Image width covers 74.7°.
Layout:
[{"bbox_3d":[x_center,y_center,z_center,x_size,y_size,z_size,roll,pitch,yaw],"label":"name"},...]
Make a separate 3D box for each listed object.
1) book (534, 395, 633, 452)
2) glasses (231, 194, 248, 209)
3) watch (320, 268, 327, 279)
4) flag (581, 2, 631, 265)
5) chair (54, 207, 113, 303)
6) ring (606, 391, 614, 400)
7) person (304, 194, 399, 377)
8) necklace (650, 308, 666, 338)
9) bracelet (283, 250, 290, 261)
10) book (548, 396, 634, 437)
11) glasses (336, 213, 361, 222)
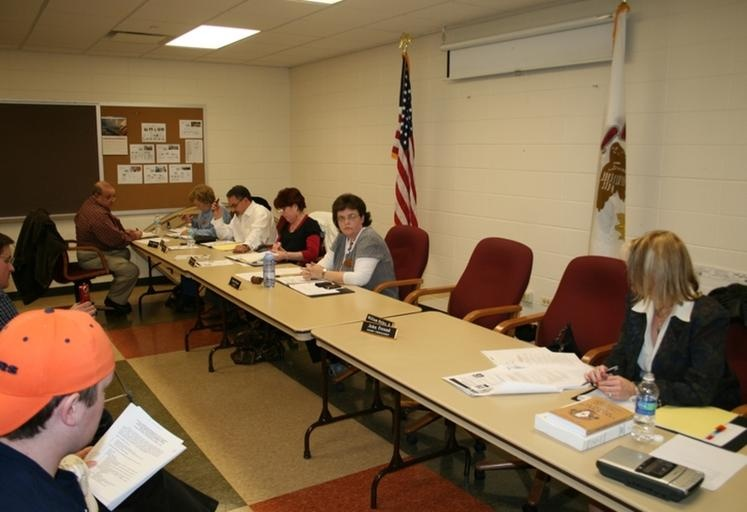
[{"bbox_3d":[0.799,0.604,1.800,0.242,0.057,0.169,-4,8,-36],"label":"book"},{"bbox_3d":[-1.466,-0.592,5.410,0.148,0.153,0.127,-16,-3,-2],"label":"glasses"},{"bbox_3d":[-0.386,0.136,3.830,0.046,0.068,0.073,3,-6,7],"label":"watch"},{"bbox_3d":[1.761,-0.908,3.595,0.241,1.804,0.335,2,13,10],"label":"flag"},{"bbox_3d":[-3.377,0.145,5.621,0.615,0.785,0.690,-3,15,-31],"label":"chair"},{"bbox_3d":[0.960,0.568,1.990,0.025,0.028,0.032,-11,-9,12],"label":"ring"},{"bbox_3d":[-0.161,0.210,4.093,0.815,1.431,0.861,5,16,16],"label":"person"},{"bbox_3d":[1.326,0.315,2.239,0.080,0.100,0.111,0,3,40],"label":"necklace"},{"bbox_3d":[-0.805,-0.001,4.677,0.063,0.091,0.138,-1,13,-1],"label":"bracelet"},{"bbox_3d":[0.818,0.593,1.837,0.254,0.036,0.179,-7,13,-25],"label":"book"},{"bbox_3d":[-0.190,-0.316,3.874,0.204,0.075,0.115,-1,13,-3],"label":"glasses"}]
